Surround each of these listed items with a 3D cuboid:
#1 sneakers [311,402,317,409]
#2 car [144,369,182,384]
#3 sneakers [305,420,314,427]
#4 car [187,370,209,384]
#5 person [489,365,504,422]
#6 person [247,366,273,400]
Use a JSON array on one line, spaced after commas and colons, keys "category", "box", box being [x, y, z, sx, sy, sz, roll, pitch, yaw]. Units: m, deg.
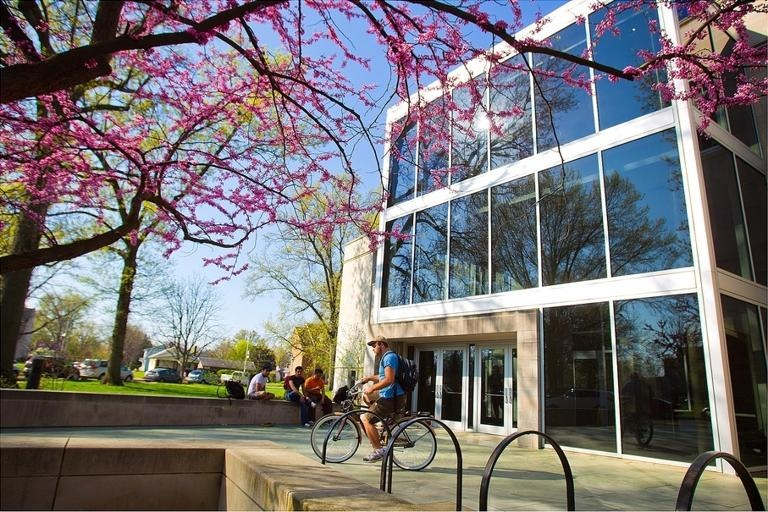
[{"category": "sneakers", "box": [-2.287, 4.936, 14.929, 0.140, 0.146, 0.175, -5, -30, 17]}, {"category": "car", "box": [-21.424, 11.634, 44.139, 2.503, 1.167, 3.971, 15, -17, -37]}, {"category": "sneakers", "box": [-2.389, 5.460, 14.652, 0.138, 0.170, 0.397, 13, -27, -40]}, {"category": "car", "box": [-20.388, 13.218, 49.407, 2.473, 1.242, 1.496, 8, -17, -7]}, {"category": "person", "box": [3.780, 4.593, 14.905, 0.198, 1.916, 0.636, 10, -14, -21]}, {"category": "person", "box": [-4.066, 4.235, 15.020, 0.848, 1.162, 0.967, 6, -16, -10]}]
